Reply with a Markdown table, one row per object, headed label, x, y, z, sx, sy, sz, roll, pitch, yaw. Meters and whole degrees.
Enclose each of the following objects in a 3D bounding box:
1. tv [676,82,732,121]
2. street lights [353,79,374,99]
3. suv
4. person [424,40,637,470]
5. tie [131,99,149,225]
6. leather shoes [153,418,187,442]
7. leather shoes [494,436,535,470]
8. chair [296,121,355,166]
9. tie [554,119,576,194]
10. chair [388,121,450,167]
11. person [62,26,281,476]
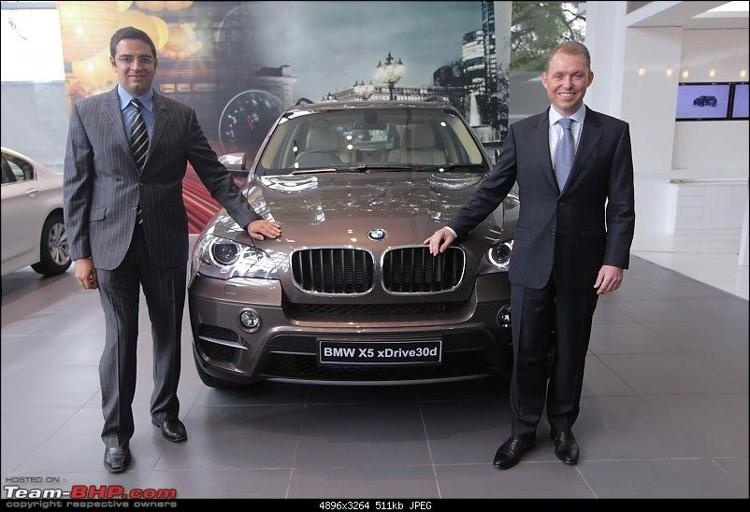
| label | x | y | z | sx | sy | sz | roll | pitch | yaw |
| --- | --- | --- | --- | --- | --- | --- | --- | --- | --- |
| tv | 5.279 | -2.514 | 8.041 | 0.762 | 0.540 | 0.079 | 0 | 7 | -2 |
| street lights | -0.121 | -2.094 | 6.240 | 0.316 | 0.197 | 0.343 | -9 | 19 | -13 |
| suv | -0.134 | -0.293 | 3.412 | 1.433 | 1.071 | 2.315 | 0 | 12 | 0 |
| person | 0.852 | 0.021 | 2.426 | 0.800 | 1.979 | 0.583 | -9 | 19 | -10 |
| tie | -1.137 | -0.460 | 2.424 | 0.070 | 0.614 | 0.094 | -4 | -4 | 25 |
| leather shoes | -1.127 | 0.938 | 2.723 | 0.085 | 0.097 | 0.234 | -1 | 0 | -44 |
| leather shoes | 0.710 | 0.958 | 2.553 | 0.291 | 0.111 | 0.096 | -15 | 32 | -39 |
| chair | -0.339 | -0.757 | 3.511 | 0.372 | 0.358 | 0.325 | 0 | -2 | 3 |
| tie | 0.885 | -0.470 | 2.315 | 0.093 | 0.321 | 0.127 | 2 | 20 | 19 |
| chair | 0.315 | -0.732 | 3.643 | 0.403 | 0.387 | 0.355 | -4 | -5 | 3 |
| person | -1.121 | -0.038 | 2.514 | 0.960 | 2.060 | 0.439 | -16 | 22 | -30 |
